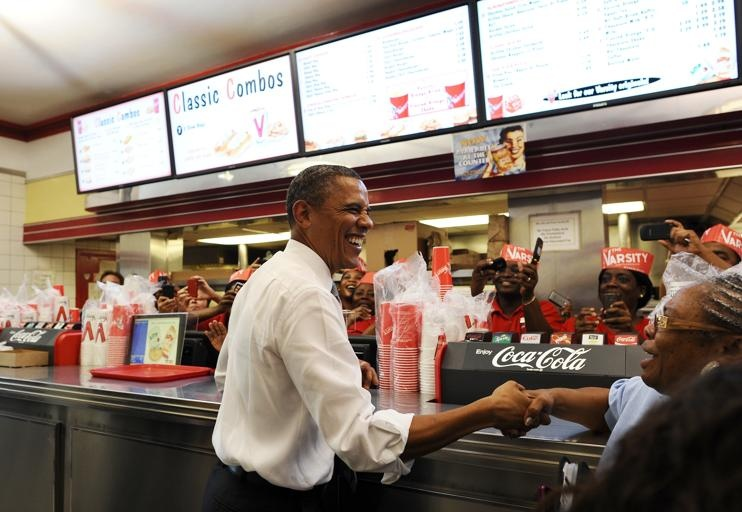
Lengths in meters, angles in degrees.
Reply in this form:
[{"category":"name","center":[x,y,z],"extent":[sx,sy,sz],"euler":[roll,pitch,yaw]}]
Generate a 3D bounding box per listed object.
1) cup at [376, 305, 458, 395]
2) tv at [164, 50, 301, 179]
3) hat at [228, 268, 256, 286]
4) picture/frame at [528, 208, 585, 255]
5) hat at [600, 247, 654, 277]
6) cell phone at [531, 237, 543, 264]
[{"category":"cup","center":[0.180,0.394,2.125],"extent":[0.385,0.438,0.325],"euler":[2,-13,1]},{"category":"tv","center":[-1.208,-1.186,4.318],"extent":[1.475,0.838,0.029],"euler":[-1,4,33]},{"category":"hat","center":[-0.878,0.143,3.341],"extent":[0.208,0.100,0.348],"euler":[0,1,-43]},{"category":"picture/frame","center":[1.399,-0.180,3.688],"extent":[0.401,0.333,0.052],"euler":[0,1,33]},{"category":"hat","center":[1.571,0.034,3.073],"extent":[0.235,0.083,0.191],"euler":[-2,-9,36]},{"category":"cell phone","center":[0.976,-0.025,2.913],"extent":[0.025,0.188,0.104],"euler":[0,-44,31]}]
